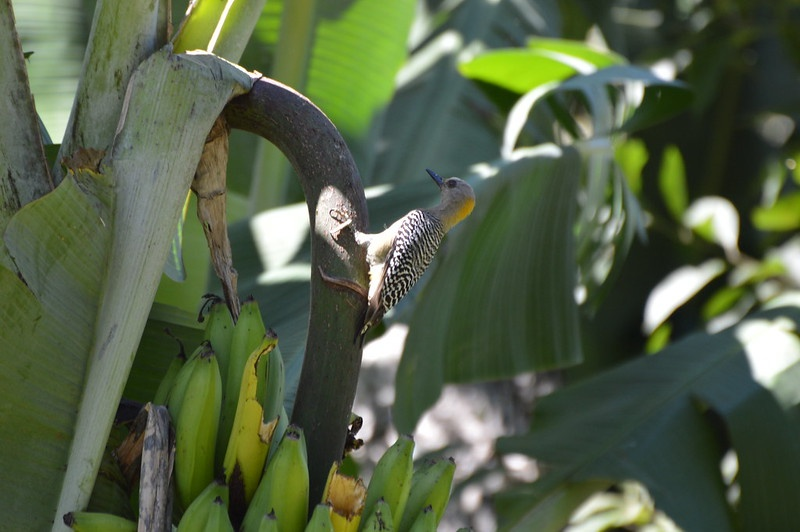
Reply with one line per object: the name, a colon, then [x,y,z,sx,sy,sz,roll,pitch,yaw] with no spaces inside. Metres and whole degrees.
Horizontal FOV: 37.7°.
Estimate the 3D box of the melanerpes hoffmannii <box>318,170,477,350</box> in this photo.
melanerpes hoffmannii: [-0.009,-0.029,2.819,0.145,0.404,0.392,16,9,35]
